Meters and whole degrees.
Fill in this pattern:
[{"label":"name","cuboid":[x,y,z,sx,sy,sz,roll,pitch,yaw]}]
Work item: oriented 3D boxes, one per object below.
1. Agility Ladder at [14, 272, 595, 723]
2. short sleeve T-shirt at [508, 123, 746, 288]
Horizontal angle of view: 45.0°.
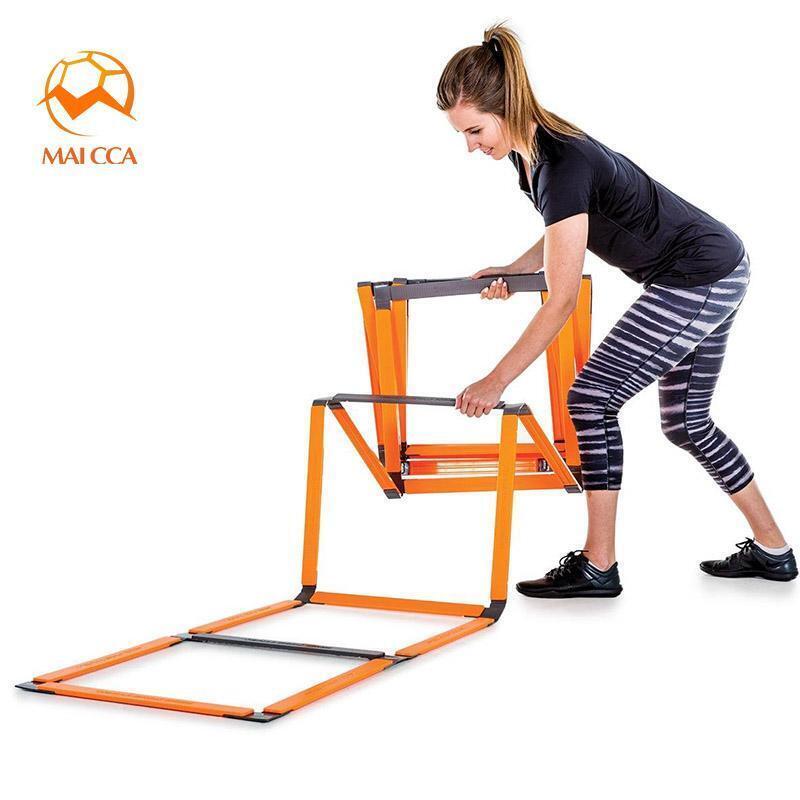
[{"label":"Agility Ladder","cuboid":[-0.038,0.138,3.285,0.864,1.110,1.956,3,5,26]},{"label":"short sleeve T-shirt","cuboid":[0.671,-0.573,2.995,0.519,0.520,0.535,-2,19,-10]}]
